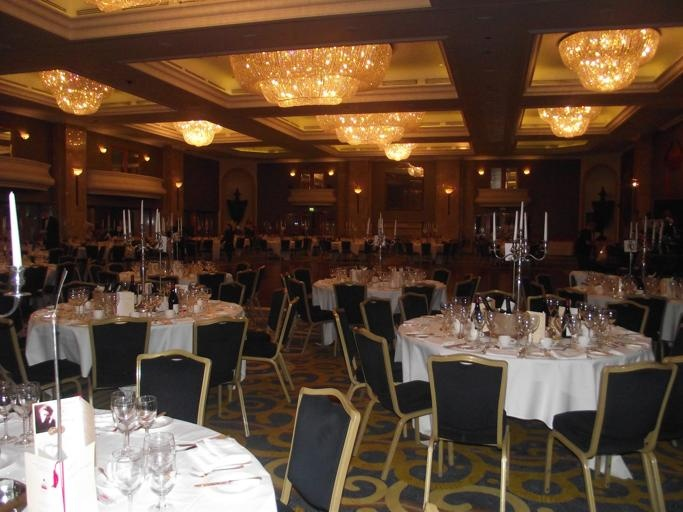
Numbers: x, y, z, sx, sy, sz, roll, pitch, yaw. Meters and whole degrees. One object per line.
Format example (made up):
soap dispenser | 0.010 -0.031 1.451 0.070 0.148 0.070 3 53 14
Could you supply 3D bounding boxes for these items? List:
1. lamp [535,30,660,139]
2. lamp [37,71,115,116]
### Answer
lamp | 4.163 -3.088 9.182 1.143 0.562 2.206 3 -10 -3
lamp | -5.376 -3.398 11.075 1.152 0.945 1.196 -3 13 -13
